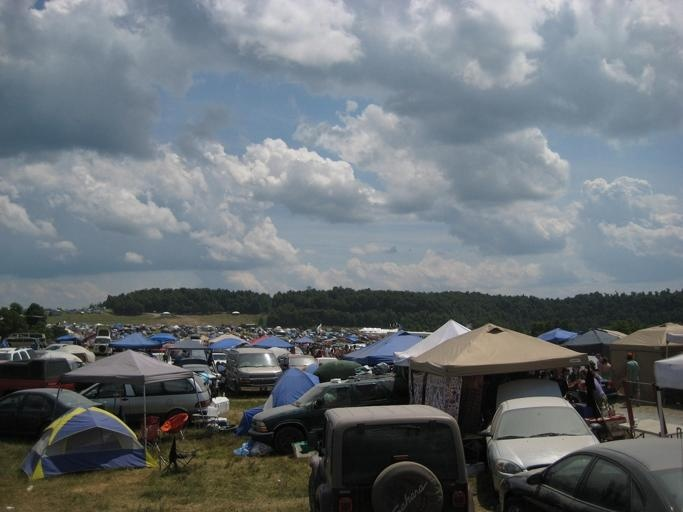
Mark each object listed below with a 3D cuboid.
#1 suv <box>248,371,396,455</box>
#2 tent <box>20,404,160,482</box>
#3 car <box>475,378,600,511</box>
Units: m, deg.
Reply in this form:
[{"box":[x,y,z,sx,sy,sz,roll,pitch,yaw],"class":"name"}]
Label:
[{"box":[-0.523,4.318,15.323,3.715,1.774,2.122,1,-7,-9],"class":"suv"},{"box":[-6.671,4.695,14.599,3.280,1.304,3.476,-2,0,8],"class":"tent"},{"box":[3.973,3.744,11.050,1.332,1.032,2.945,-4,-13,1],"class":"car"}]
